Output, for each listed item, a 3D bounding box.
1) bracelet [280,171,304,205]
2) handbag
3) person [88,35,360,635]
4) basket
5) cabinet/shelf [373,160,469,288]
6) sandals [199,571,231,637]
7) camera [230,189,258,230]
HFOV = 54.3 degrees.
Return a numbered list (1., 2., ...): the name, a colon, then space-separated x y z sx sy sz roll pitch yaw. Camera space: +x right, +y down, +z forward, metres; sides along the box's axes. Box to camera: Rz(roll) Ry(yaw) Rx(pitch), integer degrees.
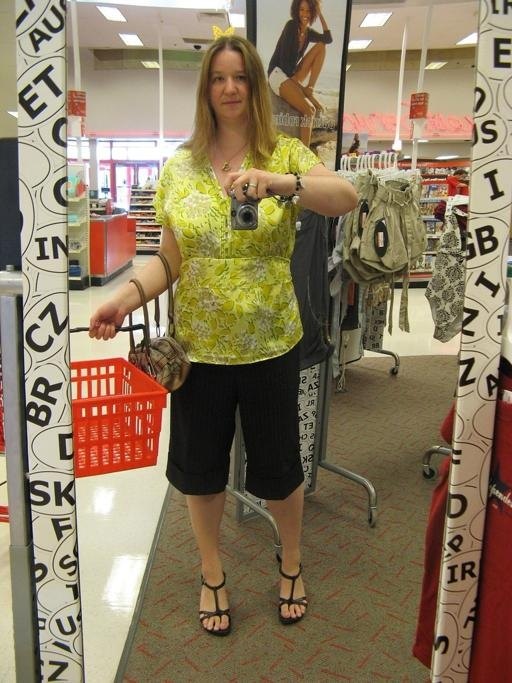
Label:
1. bracelet: 0.082 -0.382 1.250 0.025 0.073 0.063 12 25 20
2. handbag: -0.278 0.046 1.405 0.164 0.155 0.118 -1 46 56
3. person: -0.071 0.014 1.477 0.768 1.736 0.571 0 5 15
4. basket: -0.369 0.209 1.389 0.296 0.254 0.412 -3 -10 -11
5. cabinet/shelf: 3.148 -2.799 10.376 1.014 1.514 1.236 23 22 40
6. sandals: -0.134 0.907 1.683 0.069 0.082 0.207 -1 -9 -8
7. camera: -0.028 -0.301 1.164 0.091 0.117 0.066 -1 11 -5
